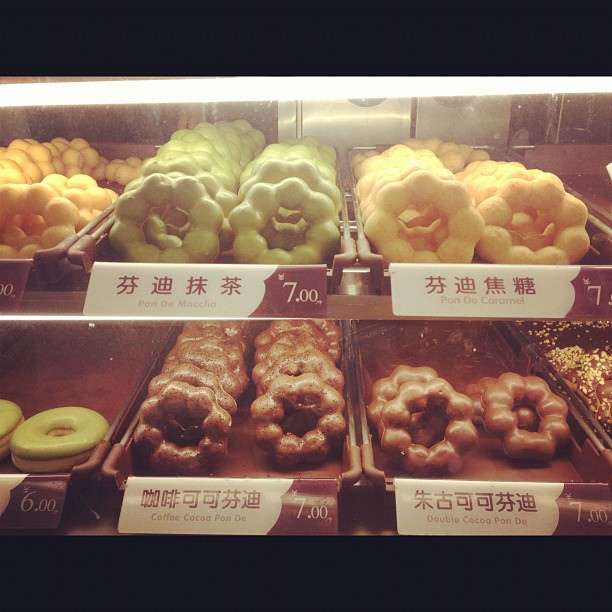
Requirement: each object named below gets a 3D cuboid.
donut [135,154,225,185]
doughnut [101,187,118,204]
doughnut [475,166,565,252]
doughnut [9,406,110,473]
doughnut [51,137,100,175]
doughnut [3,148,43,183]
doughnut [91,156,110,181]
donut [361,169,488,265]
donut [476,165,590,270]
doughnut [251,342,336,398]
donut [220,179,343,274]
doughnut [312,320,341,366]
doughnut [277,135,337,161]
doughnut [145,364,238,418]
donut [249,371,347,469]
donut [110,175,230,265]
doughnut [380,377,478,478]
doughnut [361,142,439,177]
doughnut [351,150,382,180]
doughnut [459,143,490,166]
[{"bbox_3d":[-0.269,-0.298,1.297,0.117,0.037,0.117,-2,16,-27],"label":"donut"},{"bbox_3d":[-0.530,-0.306,1.612,0.050,0.056,0.014,-9,21,-25],"label":"doughnut"},{"bbox_3d":[0.501,-0.202,1.380,0.190,0.208,0.080,5,4,20],"label":"doughnut"},{"bbox_3d":[-0.588,0.327,1.391,0.197,0.073,0.206,0,10,-12],"label":"doughnut"},{"bbox_3d":[-0.672,-0.448,1.760,0.099,0.098,0.036,31,17,-42],"label":"doughnut"},{"bbox_3d":[-0.732,-0.361,1.558,0.033,0.099,0.096,-33,10,10],"label":"doughnut"},{"bbox_3d":[-0.632,-0.418,1.816,0.022,0.062,0.058,19,-9,-43],"label":"doughnut"},{"bbox_3d":[0.273,-0.196,1.289,0.285,0.193,0.250,-4,22,-7],"label":"donut"},{"bbox_3d":[0.496,-0.183,1.287,0.203,0.109,0.279,3,60,-1],"label":"donut"},{"bbox_3d":[-0.037,0.155,1.502,0.174,0.059,0.182,-8,-5,14],"label":"doughnut"},{"bbox_3d":[-0.055,-0.177,1.263,0.261,0.182,0.246,-1,22,2],"label":"donut"},{"bbox_3d":[0.056,0.108,1.620,0.038,0.103,0.099,-3,-22,-8],"label":"doughnut"},{"bbox_3d":[0.020,-0.462,1.757,0.140,0.082,0.281,0,23,3],"label":"doughnut"},{"bbox_3d":[-0.276,0.196,1.430,0.196,0.064,0.209,-15,-6,34],"label":"doughnut"},{"bbox_3d":[-0.006,0.251,1.391,0.246,0.184,0.198,-4,22,-7],"label":"donut"},{"bbox_3d":[-0.302,-0.184,1.248,0.207,0.181,0.146,13,26,31],"label":"donut"},{"bbox_3d":[0.284,0.282,1.360,0.224,0.094,0.248,2,54,22],"label":"doughnut"},{"bbox_3d":[0.248,-0.409,1.626,0.145,0.047,0.153,-13,31,6],"label":"doughnut"},{"bbox_3d":[0.181,-0.440,1.823,0.094,0.099,0.037,7,-13,3],"label":"doughnut"},{"bbox_3d":[0.507,-0.453,1.775,0.086,0.055,0.039,21,41,14],"label":"doughnut"}]
